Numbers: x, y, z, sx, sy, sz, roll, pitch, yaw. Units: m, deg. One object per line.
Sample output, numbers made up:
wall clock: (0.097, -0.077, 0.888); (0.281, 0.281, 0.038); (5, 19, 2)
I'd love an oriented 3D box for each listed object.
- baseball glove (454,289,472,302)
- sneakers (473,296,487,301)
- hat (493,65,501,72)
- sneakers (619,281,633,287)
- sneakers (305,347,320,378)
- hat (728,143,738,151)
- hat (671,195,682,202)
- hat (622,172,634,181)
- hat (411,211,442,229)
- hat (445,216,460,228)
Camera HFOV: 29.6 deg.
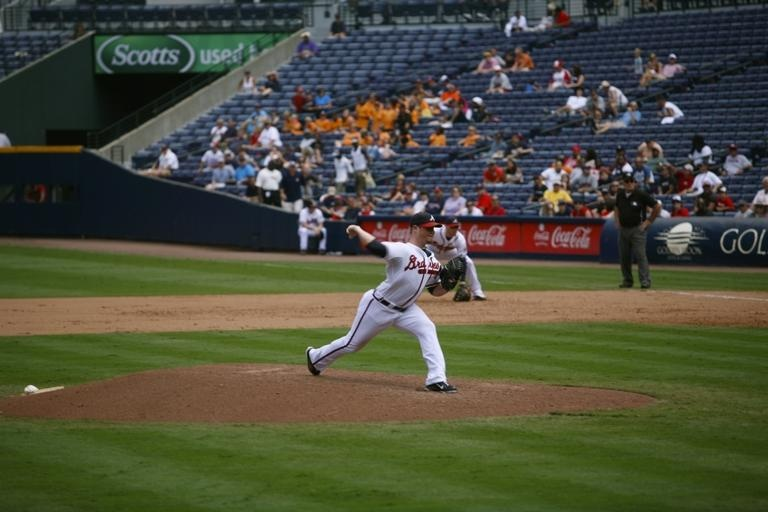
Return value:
baseball glove: (1.999, 0.981, 36.004); (0.264, 0.264, 0.417); (1, -2, -12)
sneakers: (2.406, 1.058, 35.967); (0.323, 0.112, 0.103); (3, 8, 8)
hat: (3.773, -6.266, 48.139); (0.351, 0.224, 0.534); (6, 15, 15)
sneakers: (6.166, 0.744, 37.086); (0.380, 0.144, 0.119); (2, 5, 1)
sneakers: (-1.462, 2.223, 30.140); (0.240, 0.616, 0.266); (-6, -8, 16)
hat: (10.138, -3.211, 42.367); (0.224, 0.283, 0.285); (3, -43, 12)
hat: (8.194, -1.654, 40.827); (0.219, 0.247, 0.270); (-2, -2, 19)
hat: (6.165, -1.962, 36.756); (0.257, 0.309, 0.329); (-3, 29, 1)
hat: (0.892, -0.732, 29.796); (0.516, 0.248, 0.338); (-4, 1, 10)
hat: (1.613, -0.804, 34.370); (0.285, 0.188, 0.376); (-4, 1, -37)
